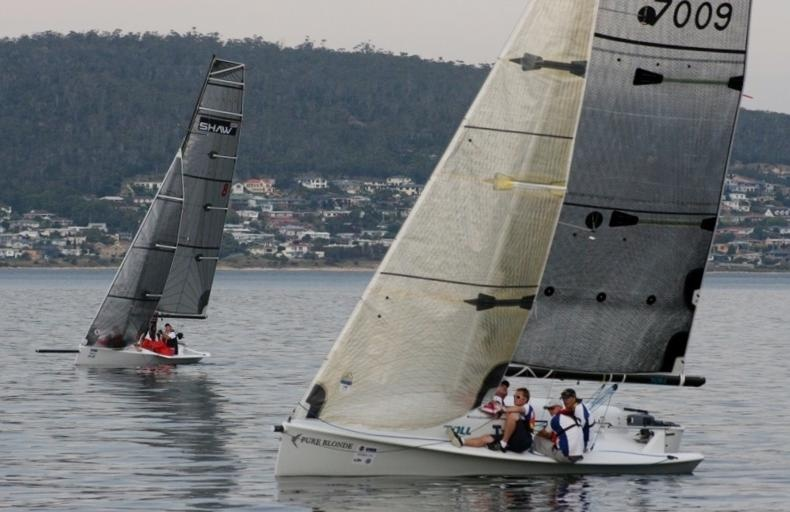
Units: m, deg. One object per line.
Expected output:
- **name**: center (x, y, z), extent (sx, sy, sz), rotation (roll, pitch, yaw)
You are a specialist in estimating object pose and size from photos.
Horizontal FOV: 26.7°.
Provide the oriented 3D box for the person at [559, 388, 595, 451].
- **person**: center (4.671, 4.148, 41.912), extent (0.959, 1.468, 0.866), rotation (0, -2, 36)
